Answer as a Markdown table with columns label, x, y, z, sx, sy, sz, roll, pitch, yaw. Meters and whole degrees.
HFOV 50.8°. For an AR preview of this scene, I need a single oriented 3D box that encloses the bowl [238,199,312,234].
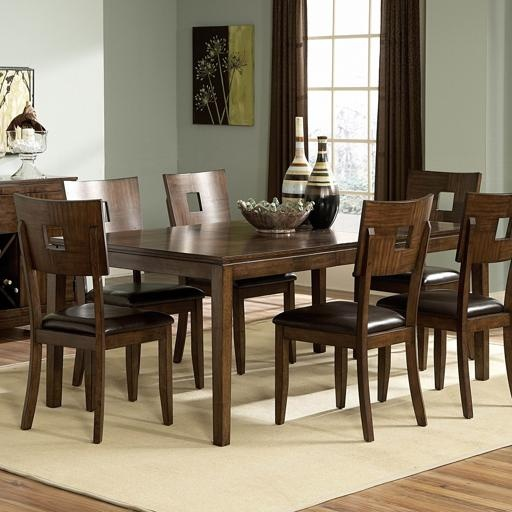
| label | x | y | z | sx | sy | sz | roll | pitch | yaw |
| --- | --- | --- | --- | --- | --- | --- | --- | --- | --- |
| bowl | 0.075 | -0.186 | 2.585 | 0.293 | 0.118 | 0.299 | 0 | 10 | 0 |

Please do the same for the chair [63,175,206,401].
| label | x | y | z | sx | sy | sz | roll | pitch | yaw |
| --- | --- | --- | --- | --- | --- | --- | --- | --- | --- |
| chair | -0.615 | 0.160 | 2.666 | 0.639 | 0.930 | 0.607 | -5 | 3 | -16 |

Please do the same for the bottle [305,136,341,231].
| label | x | y | z | sx | sy | sz | roll | pitch | yaw |
| --- | --- | --- | --- | --- | --- | --- | --- | --- | --- |
| bottle | 0.330 | -0.376 | 2.716 | 0.251 | 0.437 | 0.254 | 0 | 9 | 0 |

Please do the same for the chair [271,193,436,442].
| label | x | y | z | sx | sy | sz | roll | pitch | yaw |
| --- | --- | --- | --- | --- | --- | --- | --- | --- | --- |
| chair | 0.380 | 0.221 | 2.132 | 0.521 | 0.854 | 0.490 | 0 | 2 | 36 |

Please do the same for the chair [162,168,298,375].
| label | x | y | z | sx | sy | sz | roll | pitch | yaw |
| --- | --- | --- | --- | --- | --- | --- | --- | --- | --- |
| chair | -0.152 | 0.074 | 3.152 | 0.673 | 1.107 | 0.501 | 8 | 13 | 44 |
